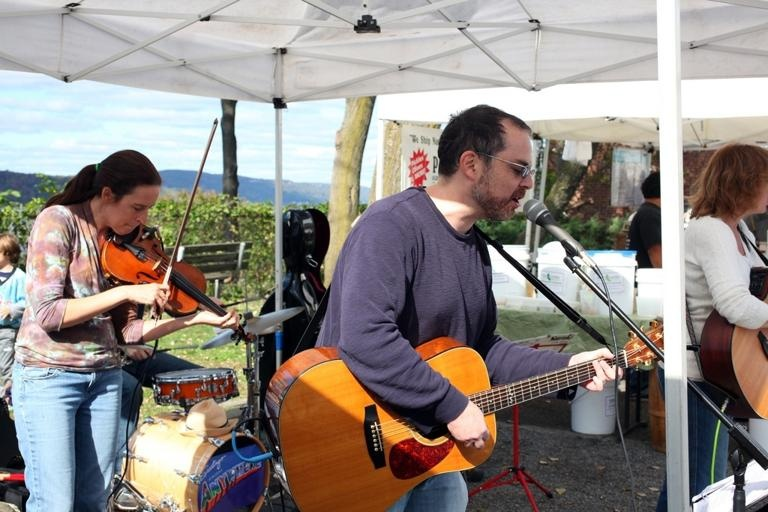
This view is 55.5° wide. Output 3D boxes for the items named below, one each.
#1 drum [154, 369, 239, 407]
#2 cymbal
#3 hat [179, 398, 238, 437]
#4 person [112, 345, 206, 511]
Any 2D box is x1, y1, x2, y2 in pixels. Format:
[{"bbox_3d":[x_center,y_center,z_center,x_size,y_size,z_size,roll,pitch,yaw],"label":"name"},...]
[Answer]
[{"bbox_3d":[-1.419,1.023,5.662,0.506,0.299,0.730,6,4,-25],"label":"drum"},{"bbox_3d":[-1.066,0.515,5.510,0.630,0.168,0.689,2,11,20],"label":"cymbal"},{"bbox_3d":[-1.253,1.158,5.327,0.344,0.247,0.353,-11,18,-43],"label":"hat"},{"bbox_3d":[-1.841,1.340,6.039,0.577,1.221,0.603,2,14,-7],"label":"person"}]
